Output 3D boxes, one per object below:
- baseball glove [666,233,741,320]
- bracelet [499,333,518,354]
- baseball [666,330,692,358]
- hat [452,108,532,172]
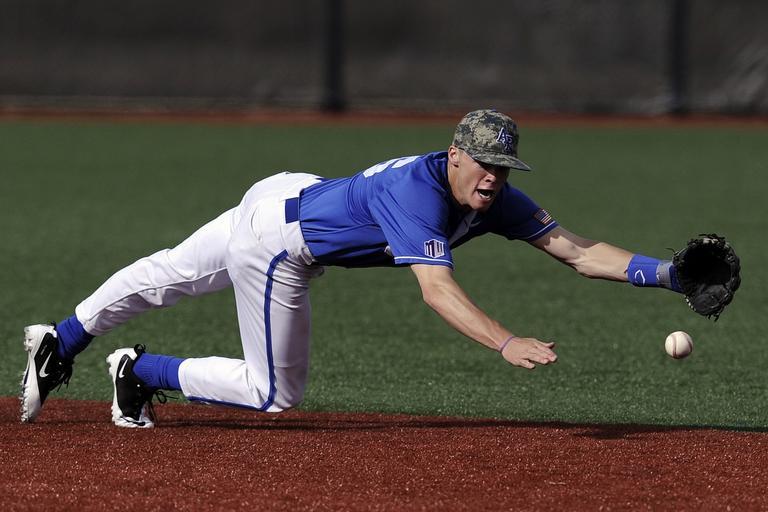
[{"bbox_3d":[2.008,0.128,7.437,0.449,0.517,0.284,6,10,32],"label":"baseball glove"},{"bbox_3d":[0.720,0.517,6.972,0.045,0.112,0.082,39,6,-8],"label":"bracelet"},{"bbox_3d":[1.971,0.598,8.004,0.189,0.174,0.181,3,-7,2],"label":"baseball"},{"bbox_3d":[0.658,-0.714,7.332,0.463,0.245,0.324,23,8,40],"label":"hat"}]
